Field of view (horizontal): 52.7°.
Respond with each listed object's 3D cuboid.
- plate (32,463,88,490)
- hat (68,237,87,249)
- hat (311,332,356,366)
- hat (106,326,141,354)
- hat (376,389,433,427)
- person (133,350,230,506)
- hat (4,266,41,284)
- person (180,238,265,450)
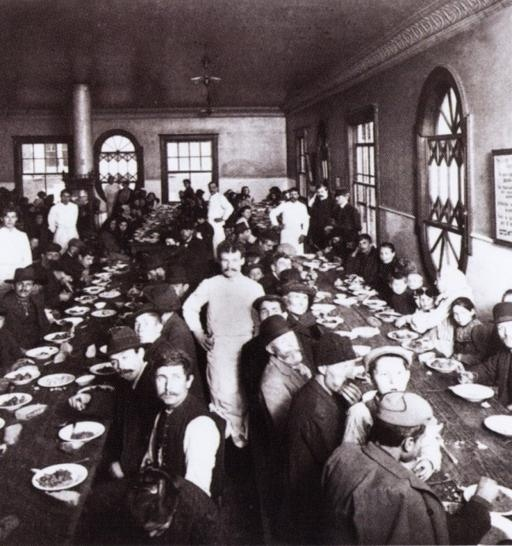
[{"bbox_3d":[-0.887,0.920,2.322,0.112,0.024,0.117,0,17,-2],"label":"plate"},{"bbox_3d":[-2.681,-0.476,7.764,0.236,0.282,0.187,-4,9,-26],"label":"hat"},{"bbox_3d":[0.341,0.350,2.385,0.140,0.130,0.153,-12,-4,-19],"label":"hat"},{"bbox_3d":[-0.781,0.392,3.002,0.123,0.078,0.164,-7,13,28],"label":"hat"},{"bbox_3d":[0.536,0.474,1.845,0.149,0.097,0.118,-10,24,-19],"label":"hat"},{"bbox_3d":[-0.392,0.828,2.635,0.412,0.964,0.649,-1,9,-25],"label":"person"},{"bbox_3d":[-2.415,0.028,5.336,0.295,0.162,0.355,-2,-2,-37],"label":"hat"},{"bbox_3d":[-0.239,0.592,4.229,0.572,1.704,0.447,1,22,0],"label":"person"}]
